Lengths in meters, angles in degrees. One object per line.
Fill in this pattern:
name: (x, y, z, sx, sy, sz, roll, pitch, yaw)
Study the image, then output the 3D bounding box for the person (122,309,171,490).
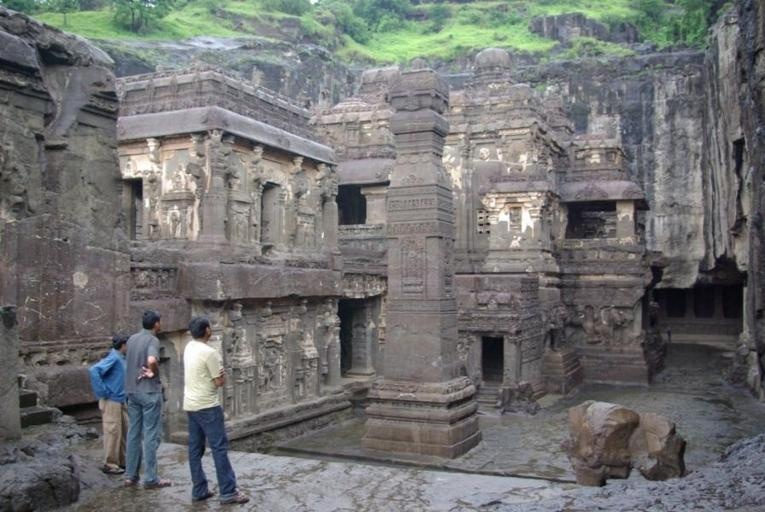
person: (-4.060, 2.428, 13.350, 0.701, 2.983, 0.366, -2, -1, 13)

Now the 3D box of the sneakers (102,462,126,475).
sneakers: (-4.692, 3.709, 13.748, 0.355, 0.127, 0.165, 0, -2, 6)

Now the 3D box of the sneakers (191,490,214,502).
sneakers: (-2.994, 3.991, 13.084, 0.346, 0.134, 0.117, -13, 8, -18)

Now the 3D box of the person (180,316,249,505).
person: (-2.849, 2.539, 13.033, 0.816, 3.104, 0.409, -2, -1, -9)

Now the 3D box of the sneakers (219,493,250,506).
sneakers: (-2.455, 4.012, 13.014, 0.457, 0.192, 0.172, -2, -1, -6)
